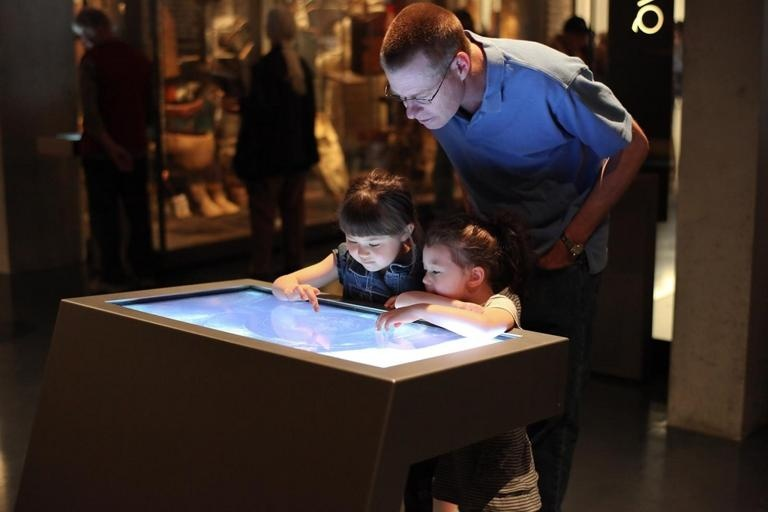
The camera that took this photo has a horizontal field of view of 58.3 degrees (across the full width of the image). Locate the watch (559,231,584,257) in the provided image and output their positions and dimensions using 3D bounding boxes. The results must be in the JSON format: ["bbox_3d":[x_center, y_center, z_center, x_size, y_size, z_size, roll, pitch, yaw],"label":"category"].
[{"bbox_3d":[0.683,-0.035,2.496,0.088,0.063,0.097,41,9,10],"label":"watch"}]

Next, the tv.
[{"bbox_3d":[-0.376,0.214,2.451,0.739,0.033,1.531,12,0,5],"label":"tv"}]
